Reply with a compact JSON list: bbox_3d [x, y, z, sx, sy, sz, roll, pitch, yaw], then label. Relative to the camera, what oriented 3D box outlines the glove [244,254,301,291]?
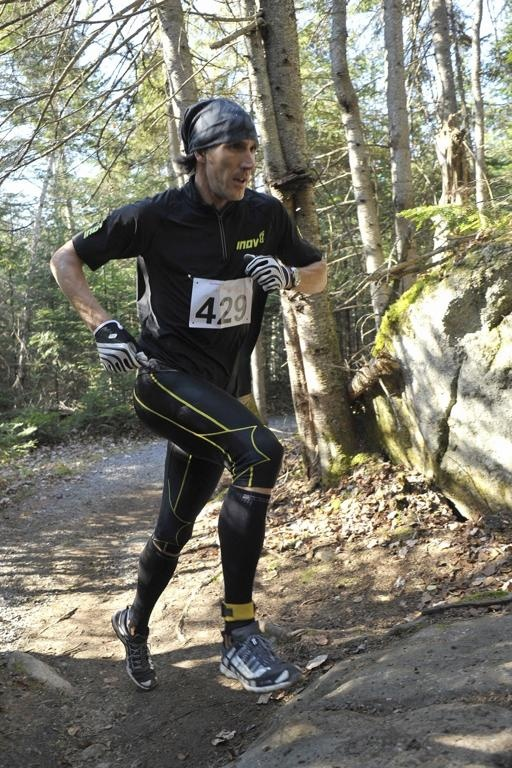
[{"bbox_3d":[0.065,-0.450,2.830,0.088,0.141,0.195,-47,-16,15],"label":"glove"}]

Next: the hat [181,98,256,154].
[{"bbox_3d":[-0.201,-0.997,2.741,0.218,0.210,0.289,-22,21,-38],"label":"hat"}]

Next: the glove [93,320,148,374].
[{"bbox_3d":[-0.533,-0.135,2.760,0.252,0.147,0.103,46,9,34],"label":"glove"}]

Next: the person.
[{"bbox_3d":[-0.163,0.036,2.839,1.082,2.362,0.689,-12,2,-11],"label":"person"}]
